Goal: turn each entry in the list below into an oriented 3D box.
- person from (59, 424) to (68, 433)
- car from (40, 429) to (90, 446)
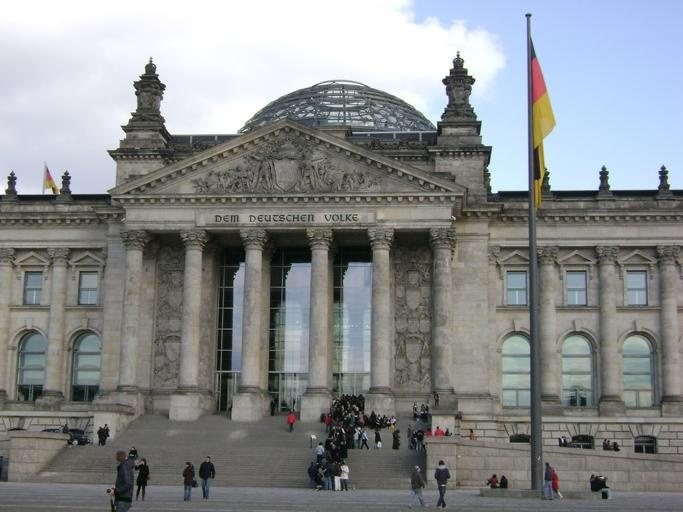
[{"bbox_3d":[-18.843,11.907,86.980,0.660,0.854,0.884,2,-8,-3],"label":"person"},{"bbox_3d":[-18.483,12.140,86.440,3.486,1.172,1.657,-6,-11,22],"label":"car"}]
